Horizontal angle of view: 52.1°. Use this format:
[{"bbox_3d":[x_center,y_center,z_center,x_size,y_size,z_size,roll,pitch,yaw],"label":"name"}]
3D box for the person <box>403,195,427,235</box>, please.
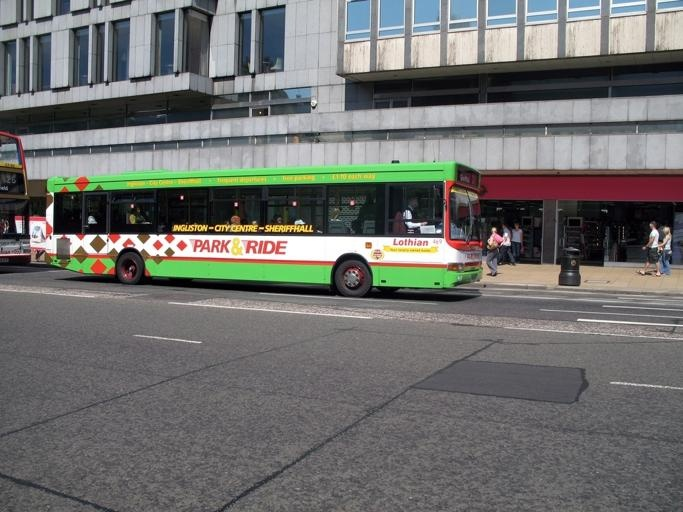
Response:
[{"bbox_3d":[1.805,-0.994,16.782,0.635,1.253,0.707,-1,3,-5],"label":"person"}]
